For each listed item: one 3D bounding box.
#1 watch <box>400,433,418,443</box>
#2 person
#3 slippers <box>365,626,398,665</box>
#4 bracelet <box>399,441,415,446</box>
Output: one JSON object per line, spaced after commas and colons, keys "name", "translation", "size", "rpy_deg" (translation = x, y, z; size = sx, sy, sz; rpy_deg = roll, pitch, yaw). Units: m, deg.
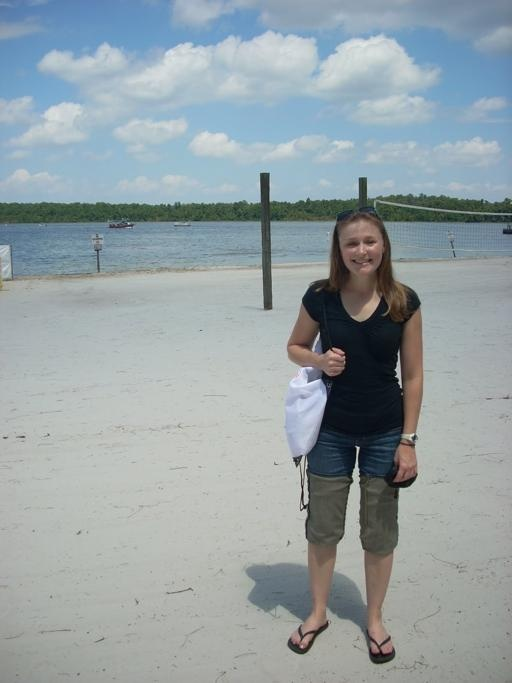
{"name": "watch", "translation": [0.565, 0.350, 2.327], "size": [0.056, 0.039, 0.063], "rpy_deg": [1, 13, 9]}
{"name": "person", "translation": [0.372, 0.338, 2.405], "size": [0.502, 1.650, 0.581], "rpy_deg": [0, 15, 6]}
{"name": "slippers", "translation": [0.475, 1.152, 2.383], "size": [0.104, 0.053, 0.245], "rpy_deg": [-5, 4, 1]}
{"name": "bracelet", "translation": [0.563, 0.373, 2.302], "size": [0.036, 0.019, 0.030], "rpy_deg": [10, -27, -18]}
